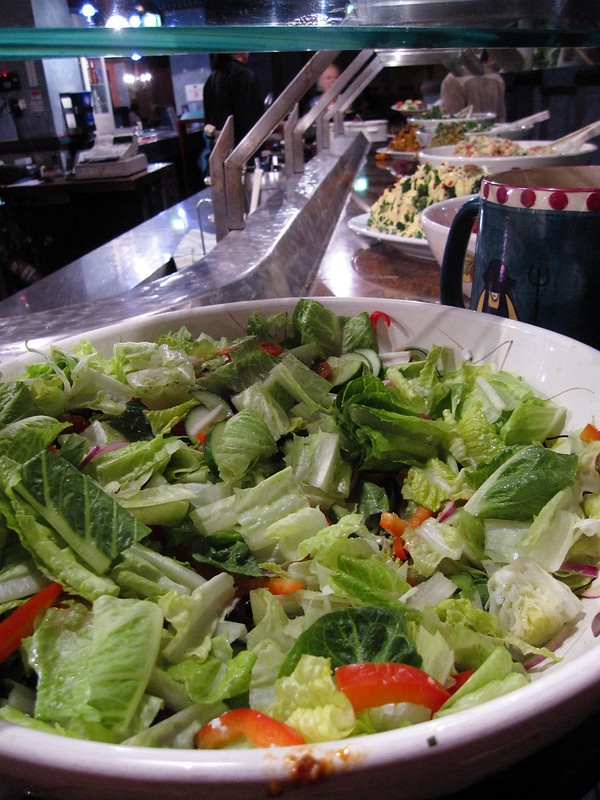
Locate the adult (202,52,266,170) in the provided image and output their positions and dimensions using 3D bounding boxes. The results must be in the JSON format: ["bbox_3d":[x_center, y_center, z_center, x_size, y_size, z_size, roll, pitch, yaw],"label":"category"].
[{"bbox_3d":[-0.614,-2.893,5.847,0.542,0.808,0.691,-17,26,-26],"label":"adult"}]

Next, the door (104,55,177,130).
[{"bbox_3d":[-2.393,-4.774,9.453,1.101,1.000,0.031,-20,48,-24],"label":"door"}]
